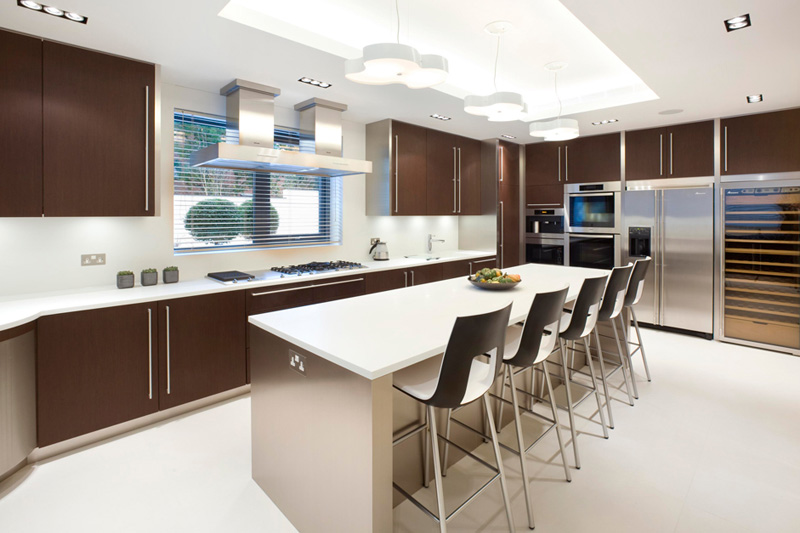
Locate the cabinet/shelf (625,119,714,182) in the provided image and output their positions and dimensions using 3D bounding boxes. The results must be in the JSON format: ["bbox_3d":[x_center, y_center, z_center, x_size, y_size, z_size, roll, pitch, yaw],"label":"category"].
[{"bbox_3d":[3.737,-1.315,7.183,1.083,0.770,0.621,1,1,43],"label":"cabinet/shelf"}]

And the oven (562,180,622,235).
[{"bbox_3d":[2.813,-0.801,7.950,0.819,0.831,0.551,-1,0,5],"label":"oven"}]

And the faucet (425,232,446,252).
[{"bbox_3d":[0.536,-0.364,8.046,0.241,0.358,0.362,2,3,42],"label":"faucet"}]

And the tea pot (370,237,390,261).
[{"bbox_3d":[-0.276,-0.227,7.029,0.196,0.320,0.316,0,0,-37],"label":"tea pot"}]

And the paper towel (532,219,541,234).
[{"bbox_3d":[2.159,-0.621,8.363,0.151,0.290,0.144,1,1,18],"label":"paper towel"}]

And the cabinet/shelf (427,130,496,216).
[{"bbox_3d":[0.855,-1.390,7.667,1.102,0.964,0.429,-4,7,-40],"label":"cabinet/shelf"}]

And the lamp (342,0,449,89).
[{"bbox_3d":[0.008,-1.686,4.208,0.507,0.619,0.516,0,2,-21],"label":"lamp"}]
